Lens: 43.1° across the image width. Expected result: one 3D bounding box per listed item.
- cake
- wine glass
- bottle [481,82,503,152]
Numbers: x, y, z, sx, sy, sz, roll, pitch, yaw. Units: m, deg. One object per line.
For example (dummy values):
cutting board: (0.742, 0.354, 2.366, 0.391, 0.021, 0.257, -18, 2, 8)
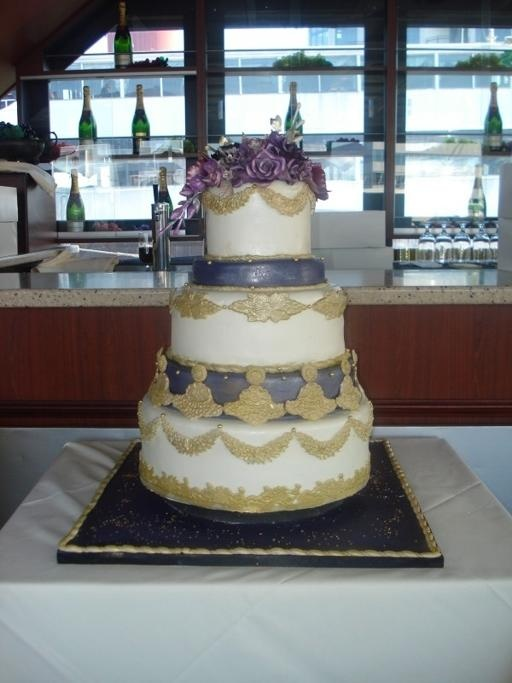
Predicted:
cake: (0.014, -0.030, 0.947, 0.396, 0.397, 0.373, -9, 16, -22)
wine glass: (0.959, -0.441, 3.095, 0.381, 0.209, 0.350, 4, 15, 12)
bottle: (1.216, -1.142, 3.323, 0.095, 0.349, 0.164, 3, 11, 19)
